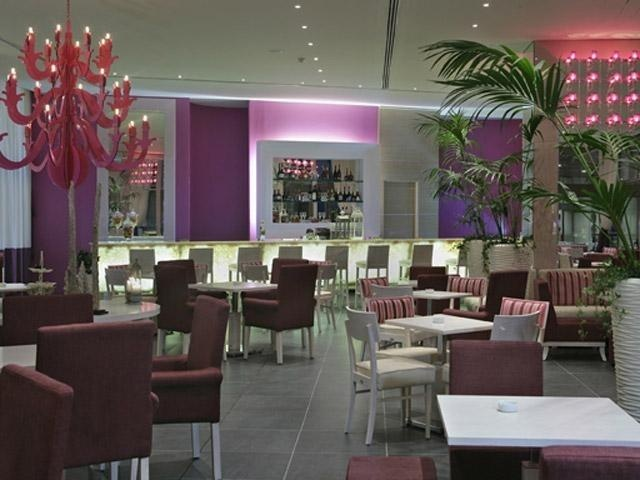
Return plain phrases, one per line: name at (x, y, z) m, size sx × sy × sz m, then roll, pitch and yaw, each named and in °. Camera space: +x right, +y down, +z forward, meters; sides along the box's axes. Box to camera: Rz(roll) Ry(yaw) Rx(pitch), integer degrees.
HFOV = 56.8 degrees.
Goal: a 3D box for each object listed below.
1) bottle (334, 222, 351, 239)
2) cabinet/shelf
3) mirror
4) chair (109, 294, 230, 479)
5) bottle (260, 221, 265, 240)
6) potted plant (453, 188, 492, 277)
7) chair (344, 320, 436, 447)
bottle at (0.451, -0.239, 12.642) m, size 0.318 × 0.373 × 0.344 m, roll -12°, pitch 10°, yaw 2°
cabinet/shelf at (-0.073, -0.871, 12.812) m, size 1.997 × 1.070 × 0.268 m, roll 0°, pitch 25°, yaw -1°
mirror at (-3.972, -1.485, 12.710) m, size 1.697 × 3.681 × 0.258 m, roll 3°, pitch -24°, yaw -22°
chair at (-1.154, 0.989, 4.575) m, size 0.933 × 1.804 × 1.207 m, roll 3°, pitch -5°, yaw -22°
bottle at (-1.196, -0.204, 12.380) m, size 0.118 × 0.333 × 0.276 m, roll -1°, pitch 3°, yaw -5°
potted plant at (2.457, -0.121, 9.196) m, size 0.552 × 1.312 × 0.644 m, roll -11°, pitch 8°, yaw -19°
chair at (0.543, 1.083, 4.767) m, size 0.620 × 0.984 × 0.595 m, roll 0°, pitch -2°, yaw -11°
